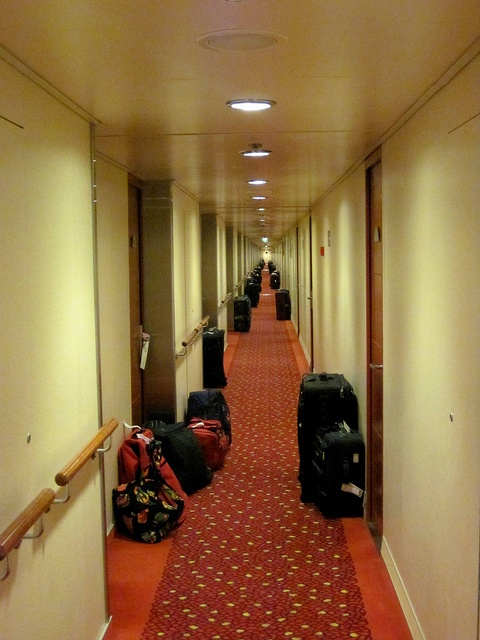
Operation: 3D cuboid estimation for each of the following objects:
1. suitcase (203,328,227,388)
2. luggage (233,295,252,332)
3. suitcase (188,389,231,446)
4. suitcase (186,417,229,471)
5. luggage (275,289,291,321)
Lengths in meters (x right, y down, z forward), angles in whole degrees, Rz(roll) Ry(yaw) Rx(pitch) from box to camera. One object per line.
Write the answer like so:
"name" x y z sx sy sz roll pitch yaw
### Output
"suitcase" -0.455 0.737 8.930 0.410 0.962 0.537 -2 4 -3
"luggage" 0.088 -0.189 15.353 0.523 1.119 0.570 -2 4 -10
"suitcase" -0.368 1.178 6.055 0.546 0.796 0.485 0 -7 -3
"suitcase" -0.341 1.360 5.449 0.411 0.463 0.549 -2 4 -1
"luggage" 1.620 -0.562 18.209 0.527 1.125 0.832 -1 4 6
